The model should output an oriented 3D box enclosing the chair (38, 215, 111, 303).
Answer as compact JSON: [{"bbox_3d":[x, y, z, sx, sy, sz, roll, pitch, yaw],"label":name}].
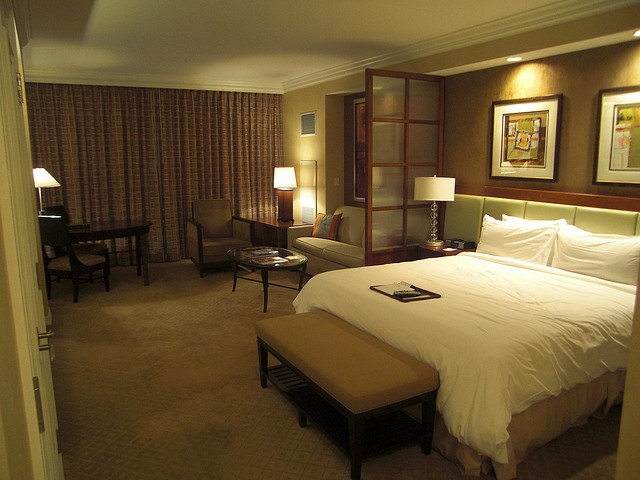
[{"bbox_3d":[-3.142,0.161,6.011,0.711,1.042,1.236,-8,13,-29],"label":"chair"}]

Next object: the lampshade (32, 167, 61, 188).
[{"bbox_3d":[-3.421,-0.761,5.882,0.246,0.235,0.529,-8,12,-29],"label":"lampshade"}]

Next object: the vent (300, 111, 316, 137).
[{"bbox_3d":[-0.180,-1.863,7.592,0.049,0.374,0.483,-3,5,-35],"label":"vent"}]

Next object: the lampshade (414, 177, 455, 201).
[{"bbox_3d":[1.285,-0.559,5.272,0.337,0.214,0.313,2,5,19],"label":"lampshade"}]

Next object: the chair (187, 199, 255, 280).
[{"bbox_3d":[-1.526,-0.048,7.150,1.076,1.105,1.073,-3,8,3],"label":"chair"}]

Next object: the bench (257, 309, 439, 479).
[{"bbox_3d":[0.200,0.914,3.109,0.784,0.633,1.664,-6,11,-28],"label":"bench"}]

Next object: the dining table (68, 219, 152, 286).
[{"bbox_3d":[-2.835,0.182,6.298,1.135,0.625,1.065,-5,4,-34],"label":"dining table"}]

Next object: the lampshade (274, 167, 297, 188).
[{"bbox_3d":[-0.558,-0.992,7.528,0.350,0.253,0.332,-4,10,-21],"label":"lampshade"}]
